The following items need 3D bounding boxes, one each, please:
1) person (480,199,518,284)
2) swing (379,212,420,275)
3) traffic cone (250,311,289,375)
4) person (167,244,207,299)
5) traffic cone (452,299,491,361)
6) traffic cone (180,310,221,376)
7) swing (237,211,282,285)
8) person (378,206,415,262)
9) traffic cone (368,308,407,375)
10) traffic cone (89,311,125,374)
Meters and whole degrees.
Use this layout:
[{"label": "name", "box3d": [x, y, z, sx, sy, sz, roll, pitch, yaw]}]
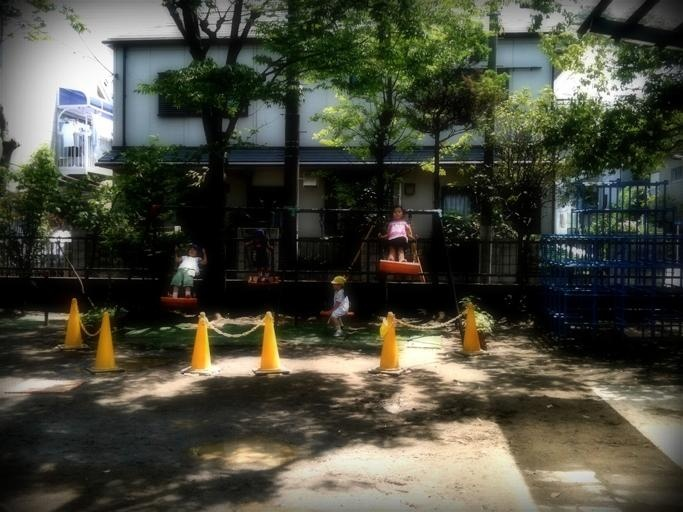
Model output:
[{"label": "person", "box3d": [3.920, -0.136, 16.214, 0.802, 2.508, 0.955, 5, 1, -5]}, {"label": "swing", "box3d": [1.342, -0.346, 14.812, 0.890, 1.565, 1.681, 1, 7, 4]}, {"label": "traffic cone", "box3d": [-1.135, 1.413, 10.622, 0.517, 1.025, 0.437, 0, 0, -5]}, {"label": "person", "box3d": [-3.551, 0.330, 15.104, 0.661, 1.498, 0.438, 9, -40, -6]}, {"label": "traffic cone", "box3d": [2.444, 1.361, 12.207, 0.561, 0.826, 0.677, 4, 6, 14]}, {"label": "traffic cone", "box3d": [-2.291, 1.388, 10.590, 0.517, 1.070, 0.434, 0, 0, -1]}, {"label": "swing", "box3d": [-1.893, 0.025, 15.324, 0.706, 1.195, 0.414, -5, 1, -9]}, {"label": "person", "box3d": [1.280, -0.528, 15.099, 0.837, 1.206, 0.717, 3, 3, 9]}, {"label": "traffic cone", "box3d": [0.793, 1.416, 10.845, 0.513, 0.981, 0.423, 0, 0, -24]}, {"label": "traffic cone", "box3d": [-3.788, 1.428, 10.585, 0.529, 1.054, 0.482, 2, 0, -12]}]
